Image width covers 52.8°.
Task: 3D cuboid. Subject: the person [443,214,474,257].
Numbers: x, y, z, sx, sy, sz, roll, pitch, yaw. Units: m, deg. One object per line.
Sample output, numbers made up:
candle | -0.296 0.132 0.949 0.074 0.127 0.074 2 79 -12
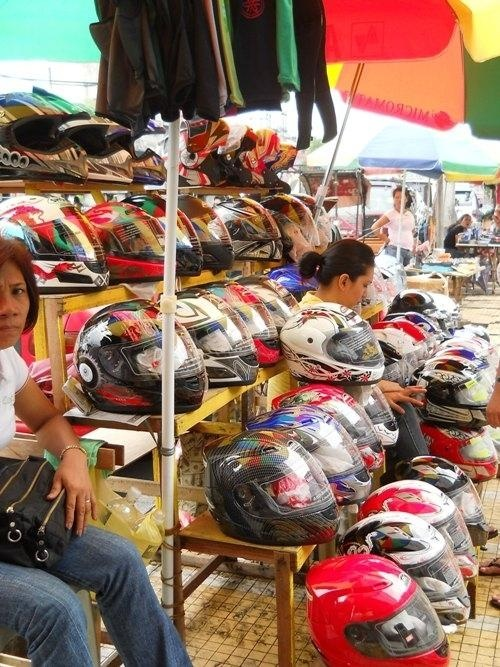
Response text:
person | 5.473 -2.532 12.950 0.755 1.058 0.649 21 35 36

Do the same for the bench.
bench | 0.060 0.678 1.863 0.599 0.861 1.099 1 8 -2

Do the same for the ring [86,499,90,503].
ring | -0.362 0.368 1.114 0.007 0.002 0.005 -1 1 28
